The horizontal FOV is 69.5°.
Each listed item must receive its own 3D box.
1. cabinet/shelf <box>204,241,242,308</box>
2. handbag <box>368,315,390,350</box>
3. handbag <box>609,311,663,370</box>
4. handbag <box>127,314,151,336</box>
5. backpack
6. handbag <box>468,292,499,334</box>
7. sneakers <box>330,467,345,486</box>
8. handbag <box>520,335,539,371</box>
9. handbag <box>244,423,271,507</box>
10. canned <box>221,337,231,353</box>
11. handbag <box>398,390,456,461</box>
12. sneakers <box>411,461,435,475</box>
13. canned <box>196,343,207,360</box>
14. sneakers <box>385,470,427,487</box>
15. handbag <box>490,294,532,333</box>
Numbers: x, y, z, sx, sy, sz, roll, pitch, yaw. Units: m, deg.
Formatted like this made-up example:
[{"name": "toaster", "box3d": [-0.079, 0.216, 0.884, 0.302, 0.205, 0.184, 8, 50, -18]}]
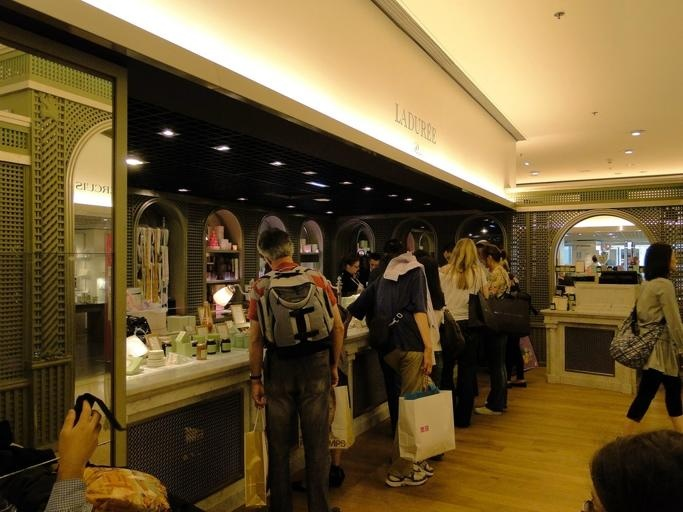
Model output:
[{"name": "cabinet/shelf", "box3d": [-2.045, 0.314, 8.326, 0.293, 0.933, 0.952, -5, -11, 21]}, {"name": "handbag", "box3d": [0.313, 0.659, 4.117, 0.187, 0.303, 0.136, 1, 2, 14]}, {"name": "handbag", "box3d": [2.624, 0.781, 4.364, 0.168, 0.502, 0.364, 12, 9, -33]}, {"name": "handbag", "box3d": [-1.546, 0.522, 3.727, 0.158, 0.132, 0.331, 0, 2, -25]}, {"name": "backpack", "box3d": [-0.311, 0.366, 3.153, 0.412, 0.500, 0.468, -3, -13, -11]}, {"name": "handbag", "box3d": [1.487, 0.611, 5.156, 0.367, 0.395, 0.154, 3, -4, -9]}, {"name": "sneakers", "box3d": [-0.040, 1.737, 3.907, 0.085, 0.153, 0.149, 3, 5, 7]}, {"name": "handbag", "box3d": [2.794, 1.462, 7.337, 0.147, 0.689, 0.646, -8, -9, 24]}, {"name": "handbag", "box3d": [-0.528, 1.301, 3.016, 0.121, 0.479, 0.189, 0, 2, -13]}, {"name": "canned", "box3d": [-0.889, 0.684, 3.757, 0.087, 0.098, 0.081, -1, 0, -15]}, {"name": "handbag", "box3d": [0.655, 1.260, 3.733, 0.474, 0.476, 0.157, 0, 2, -22]}, {"name": "sneakers", "box3d": [0.692, 1.739, 4.096, 0.235, 0.117, 0.079, 9, -9, -41]}, {"name": "canned", "box3d": [-1.020, 0.678, 3.566, 0.077, 0.114, 0.141, 0, 2, -18]}, {"name": "sneakers", "box3d": [0.521, 1.770, 3.989, 0.319, 0.166, 0.129, -1, 1, -11]}, {"name": "handbag", "box3d": [1.802, 0.624, 5.280, 0.471, 0.494, 0.208, 3, -5, -14]}]
